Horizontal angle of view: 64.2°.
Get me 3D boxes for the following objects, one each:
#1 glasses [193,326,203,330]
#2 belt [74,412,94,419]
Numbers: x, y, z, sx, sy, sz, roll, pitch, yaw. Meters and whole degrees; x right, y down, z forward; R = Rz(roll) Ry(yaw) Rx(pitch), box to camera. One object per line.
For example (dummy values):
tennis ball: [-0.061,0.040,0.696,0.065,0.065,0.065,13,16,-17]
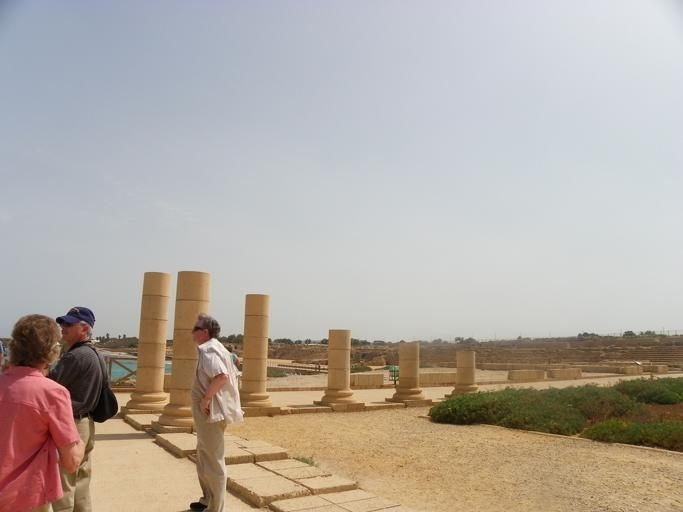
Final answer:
glasses: [-2.029,1.034,7.668,0.088,0.021,0.084,-16,-20,27]
belt: [-3.051,1.890,6.437,0.174,0.031,0.148,2,-7,-19]
